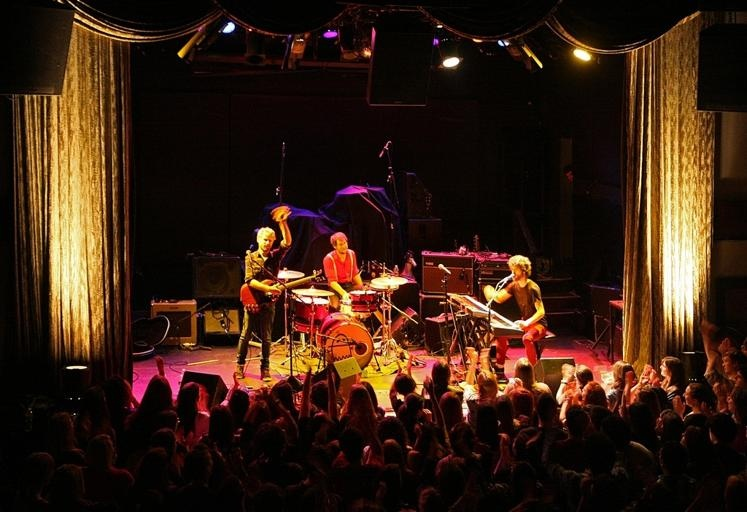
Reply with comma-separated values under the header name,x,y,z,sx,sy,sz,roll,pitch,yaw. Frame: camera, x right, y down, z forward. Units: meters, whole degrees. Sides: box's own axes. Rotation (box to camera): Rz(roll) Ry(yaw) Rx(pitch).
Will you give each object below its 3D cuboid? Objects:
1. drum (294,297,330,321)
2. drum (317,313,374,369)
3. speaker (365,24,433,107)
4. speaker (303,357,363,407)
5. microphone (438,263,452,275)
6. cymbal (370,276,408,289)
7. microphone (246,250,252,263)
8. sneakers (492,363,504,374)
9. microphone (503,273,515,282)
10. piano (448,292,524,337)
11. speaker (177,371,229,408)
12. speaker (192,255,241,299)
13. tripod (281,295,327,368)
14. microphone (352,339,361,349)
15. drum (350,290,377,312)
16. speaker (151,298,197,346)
name,x,y,z,sx,sy,sz,roll,pitch,yaw
drum,-0.867,0.720,10.209,0.388,0.235,0.380,2,5,0
drum,-0.371,1.097,9.722,0.714,0.877,0.685,2,11,0
speaker,0.288,-2.078,7.991,0.666,0.738,0.484,2,-1,-3
speaker,-0.394,1.268,7.320,0.562,0.279,0.291,-4,10,-35
microphone,1.053,0.192,10.845,0.099,0.096,0.319,31,4,-23
cymbal,0.205,0.378,10.302,0.395,0.215,0.523,0,-2,35
microphone,-1.641,0.005,9.586,0.132,0.178,0.049,2,-5,-5
sneakers,1.687,1.513,9.824,0.078,0.088,0.208,0,1,-1
microphone,1.837,0.296,9.874,0.117,0.047,0.166,-48,17,-28
piano,1.478,0.816,9.495,0.396,0.190,1.285,24,3,-18
speaker,-1.714,1.290,7.296,0.417,0.403,0.403,2,6,17
speaker,-2.473,0.331,11.622,0.805,0.733,0.631,0,-1,-8
tripod,-0.973,1.048,10.516,0.864,0.859,0.966,1,-5,8
microphone,-0.229,1.172,9.709,0.120,0.039,0.084,32,-12,0
drum,-0.141,0.611,10.091,0.310,0.214,0.306,0,0,0
speaker,-3.016,1.000,11.562,0.877,0.866,0.647,0,5,-9
